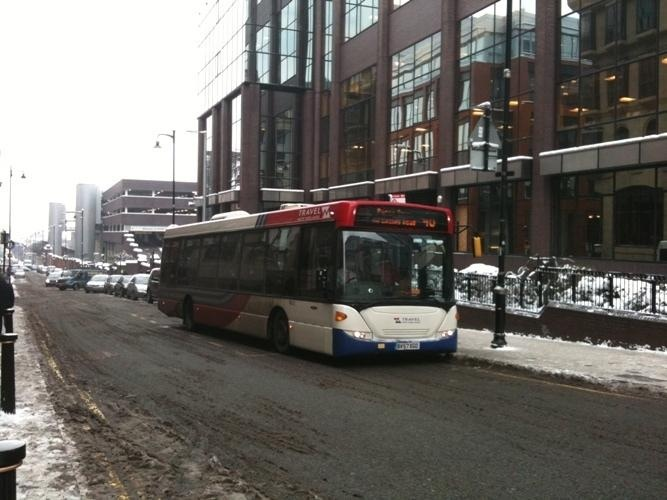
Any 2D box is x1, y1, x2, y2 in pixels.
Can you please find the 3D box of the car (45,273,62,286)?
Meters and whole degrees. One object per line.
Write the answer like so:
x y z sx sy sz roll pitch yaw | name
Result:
-32.484 3.316 69.122 1.309 1.142 3.138 0 -5 -24 | car

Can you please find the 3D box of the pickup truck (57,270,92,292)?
-27.411 3.146 63.123 2.979 1.909 3.552 0 -1 -20 | pickup truck
